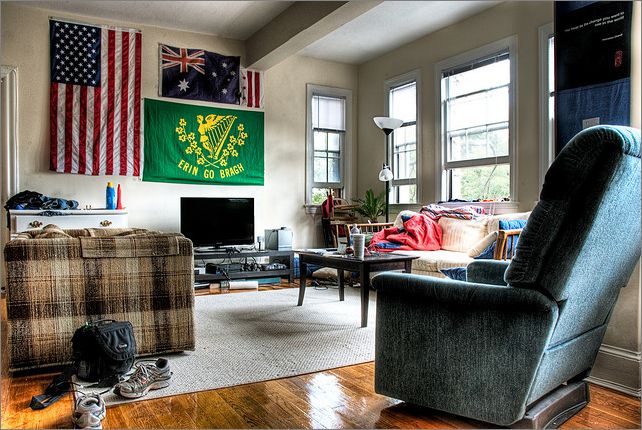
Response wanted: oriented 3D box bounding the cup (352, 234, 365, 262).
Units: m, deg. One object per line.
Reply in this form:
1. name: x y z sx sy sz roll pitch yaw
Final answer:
1. cup: 0.344 0.287 4.179 0.096 0.208 0.184 0 7 -2

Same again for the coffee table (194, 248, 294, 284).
1. coffee table: -1.000 0.700 6.082 1.357 0.453 0.464 -2 7 -26

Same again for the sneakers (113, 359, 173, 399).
1. sneakers: -1.152 1.052 2.964 0.313 0.174 0.184 -5 9 -43

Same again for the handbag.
1. handbag: -1.394 0.896 3.174 0.419 0.438 0.438 0 -3 14

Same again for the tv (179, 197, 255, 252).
1. tv: -1.399 0.127 6.045 0.821 0.517 0.203 1 -3 -21

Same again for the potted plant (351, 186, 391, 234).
1. potted plant: 0.811 -0.079 7.183 0.703 0.638 0.633 -1 -3 6

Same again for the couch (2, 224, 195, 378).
1. couch: -1.679 0.550 3.648 1.182 0.795 1.074 0 0 -17

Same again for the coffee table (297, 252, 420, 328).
1. coffee table: 0.408 0.784 4.370 0.679 0.550 1.193 1 -2 -31
